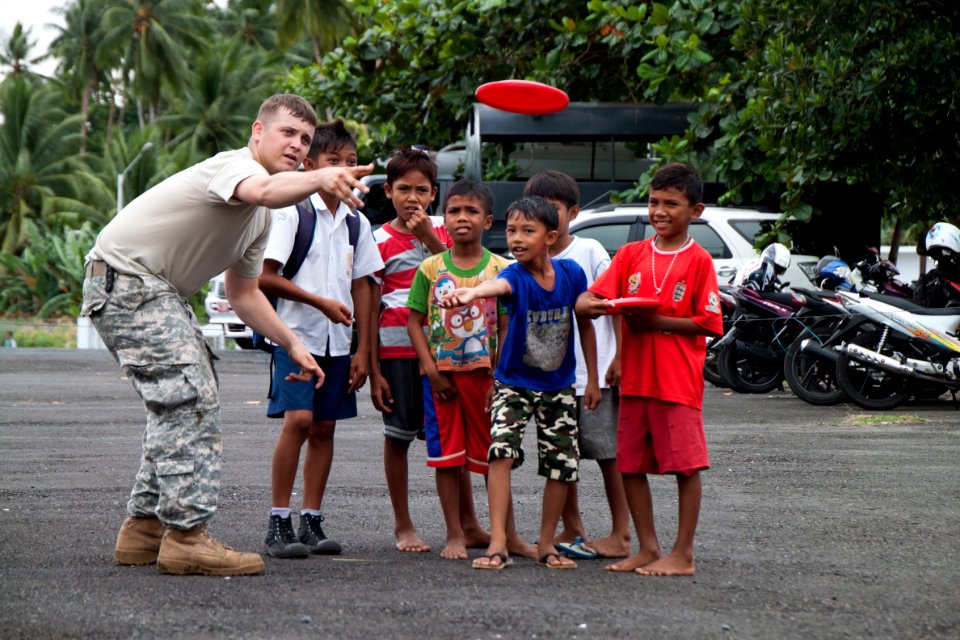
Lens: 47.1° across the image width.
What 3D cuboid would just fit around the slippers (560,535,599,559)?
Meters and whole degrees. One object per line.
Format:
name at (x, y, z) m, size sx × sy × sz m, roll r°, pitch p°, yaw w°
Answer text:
slippers at (0.589, 1.403, 6.719) m, size 0.194 × 0.069 × 0.103 m, roll 0°, pitch 4°, yaw 10°

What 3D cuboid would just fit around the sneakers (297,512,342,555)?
sneakers at (-0.927, 1.318, 6.695) m, size 0.147 × 0.219 × 0.372 m, roll 6°, pitch -7°, yaw -42°

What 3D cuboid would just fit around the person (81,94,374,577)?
person at (-1.497, 0.046, 6.355) m, size 1.553 × 2.739 × 0.809 m, roll 4°, pitch 6°, yaw 17°

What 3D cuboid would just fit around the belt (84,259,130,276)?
belt at (-2.148, -0.296, 6.216) m, size 0.142 × 0.055 × 0.129 m, roll 9°, pitch -7°, yaw -43°

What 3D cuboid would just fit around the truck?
truck at (1.422, -3.082, 19.064) m, size 4.982 × 2.727 × 2.768 m, roll -2°, pitch 3°, yaw -4°

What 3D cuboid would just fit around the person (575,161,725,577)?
person at (1.003, 0.256, 6.506) m, size 0.800 × 2.384 × 0.673 m, roll 6°, pitch 7°, yaw 31°

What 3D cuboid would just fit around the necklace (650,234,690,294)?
necklace at (1.060, -0.324, 6.453) m, size 0.229 × 0.329 × 0.087 m, roll -2°, pitch -22°, yaw 13°

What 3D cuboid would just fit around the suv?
suv at (2.927, -0.968, 15.389) m, size 2.822 × 1.110 × 1.505 m, roll 4°, pitch 3°, yaw 5°
